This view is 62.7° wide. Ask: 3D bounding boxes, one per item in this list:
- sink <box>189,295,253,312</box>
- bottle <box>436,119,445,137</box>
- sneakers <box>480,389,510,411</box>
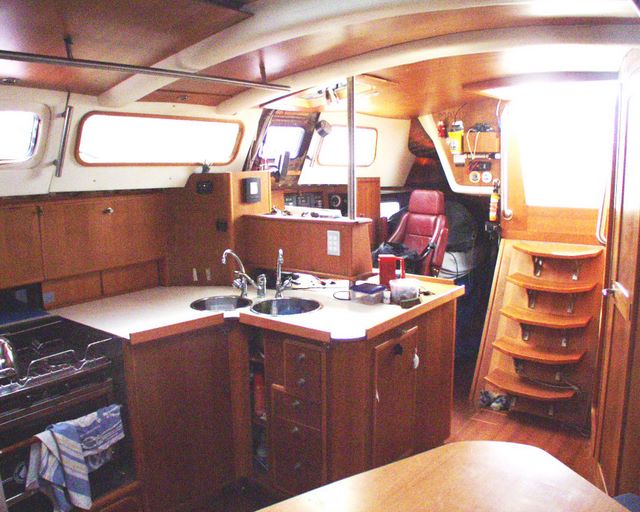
[{"bbox_3d":[-0.650,0.325,3.517,0.396,0.113,0.204,0,6,-6],"label":"sink"},{"bbox_3d":[1.268,-1.332,5.485,0.080,0.177,0.076,0,7,0],"label":"bottle"},{"bbox_3d":[1.381,1.134,4.147,0.125,0.065,0.169,-21,14,-38],"label":"sneakers"}]
